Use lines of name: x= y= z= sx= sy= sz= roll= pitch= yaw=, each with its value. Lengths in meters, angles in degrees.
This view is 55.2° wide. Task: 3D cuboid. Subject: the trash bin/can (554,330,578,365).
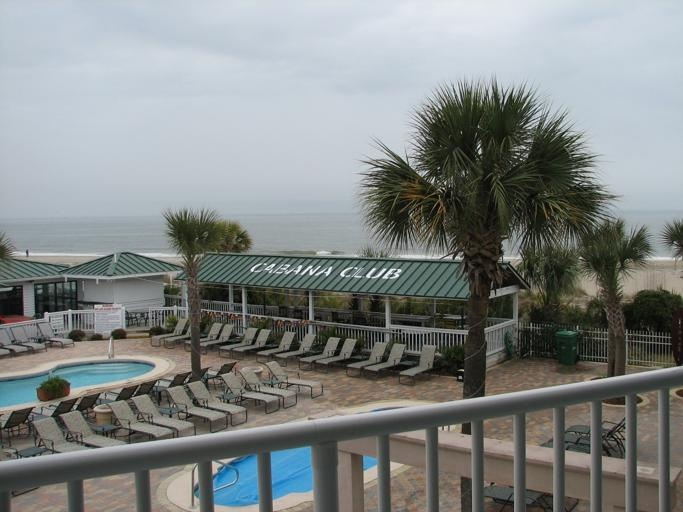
trash bin/can: x=7.491 y=2.997 z=21.536 sx=0.672 sy=1.096 sz=0.462 roll=-2 pitch=4 yaw=9

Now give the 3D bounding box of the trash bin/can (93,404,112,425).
trash bin/can: x=-5.471 y=3.545 z=14.951 sx=0.491 sy=0.417 sz=0.466 roll=-1 pitch=5 yaw=-19
